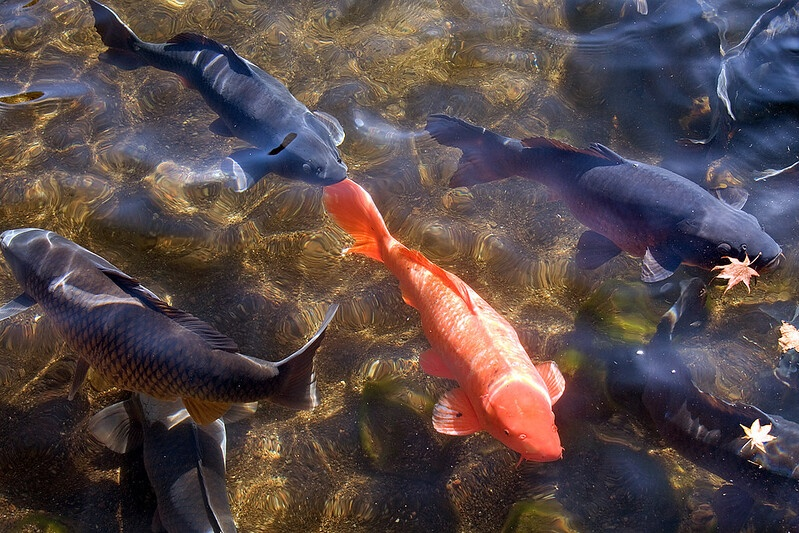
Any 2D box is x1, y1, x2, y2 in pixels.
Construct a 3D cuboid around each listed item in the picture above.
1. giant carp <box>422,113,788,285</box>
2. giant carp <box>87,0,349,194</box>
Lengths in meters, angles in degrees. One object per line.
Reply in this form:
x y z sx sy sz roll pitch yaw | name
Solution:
1.955 -0.737 8.691 3.386 1.221 1.387 24 63 22 | giant carp
-1.603 -1.503 8.343 2.358 1.357 0.660 14 41 22 | giant carp
